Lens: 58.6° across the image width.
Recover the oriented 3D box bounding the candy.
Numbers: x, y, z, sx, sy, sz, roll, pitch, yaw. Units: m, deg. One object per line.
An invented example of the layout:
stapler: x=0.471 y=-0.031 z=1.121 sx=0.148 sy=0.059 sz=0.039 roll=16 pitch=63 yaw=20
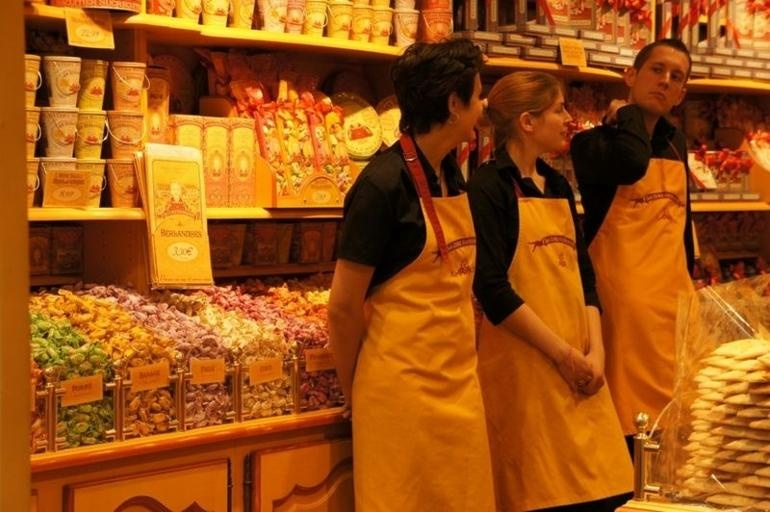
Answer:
candy: x=-0.714 y=0.331 z=2.514 sx=1.060 sy=0.371 sz=0.690 roll=1 pitch=12 yaw=-30

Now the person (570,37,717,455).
person: x=1.133 y=-0.093 z=3.028 sx=0.522 sy=1.804 sz=0.748 roll=4 pitch=21 yaw=24
